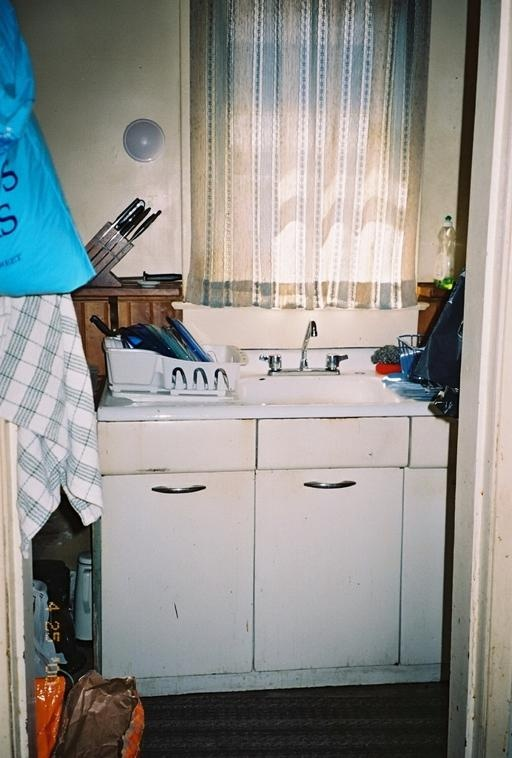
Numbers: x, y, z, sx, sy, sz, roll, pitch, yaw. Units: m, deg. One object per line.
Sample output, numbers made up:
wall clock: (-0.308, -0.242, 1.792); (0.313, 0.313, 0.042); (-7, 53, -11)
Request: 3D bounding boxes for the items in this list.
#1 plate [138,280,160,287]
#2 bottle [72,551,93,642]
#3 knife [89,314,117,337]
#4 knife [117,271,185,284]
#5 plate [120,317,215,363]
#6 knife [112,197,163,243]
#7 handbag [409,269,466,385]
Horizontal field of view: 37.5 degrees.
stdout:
plate: (-0.330, -0.294, 2.317); (0.061, 0.021, 0.043); (-1, 11, -11)
bottle: (-0.497, 0.633, 2.175); (0.045, 0.260, 0.095); (-8, 13, -43)
knife: (-0.448, -0.156, 2.209); (0.067, 0.088, 0.274); (-1, 12, -13)
knife: (-0.335, -0.319, 2.362); (0.143, 0.037, 0.039); (-1, 35, 2)
plate: (-0.251, -0.103, 2.065); (0.249, 0.109, 0.198); (0, 11, -6)
knife: (-0.359, -0.498, 2.312); (0.168, 0.099, 0.042); (-46, 23, -2)
handbag: (0.461, -0.113, 1.854); (0.076, 0.296, 0.262); (0, 10, -3)
